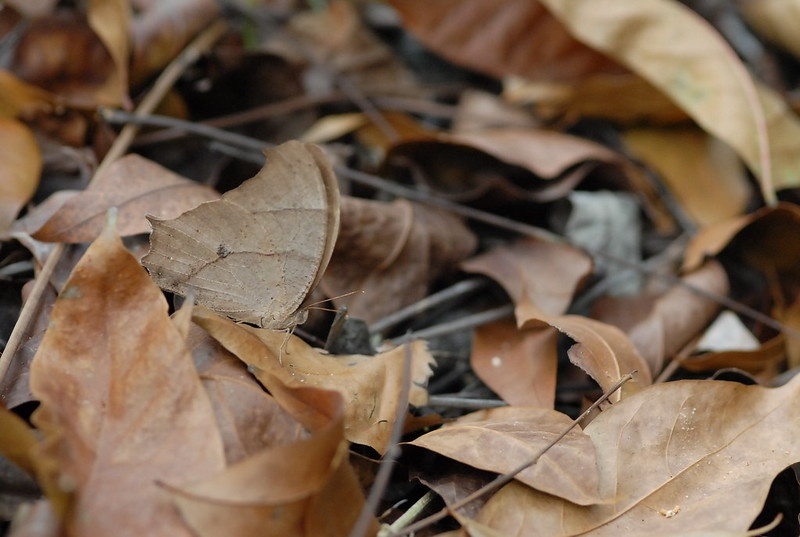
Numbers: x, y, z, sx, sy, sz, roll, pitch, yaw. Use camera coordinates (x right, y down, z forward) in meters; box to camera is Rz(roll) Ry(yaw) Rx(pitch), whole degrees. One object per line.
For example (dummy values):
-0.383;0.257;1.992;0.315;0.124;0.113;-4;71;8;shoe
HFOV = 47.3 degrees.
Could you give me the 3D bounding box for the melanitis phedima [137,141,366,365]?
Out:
-0.259;-0.069;1.500;0.302;0.296;0.145;16;30;-3;melanitis phedima
